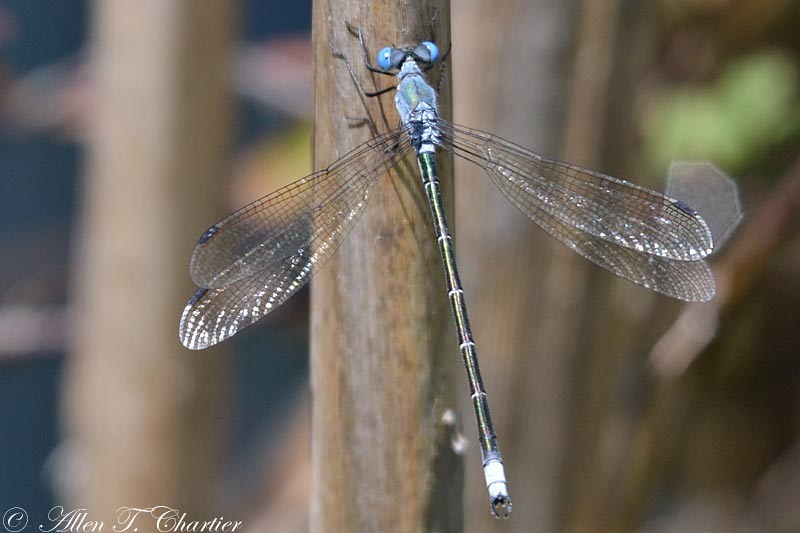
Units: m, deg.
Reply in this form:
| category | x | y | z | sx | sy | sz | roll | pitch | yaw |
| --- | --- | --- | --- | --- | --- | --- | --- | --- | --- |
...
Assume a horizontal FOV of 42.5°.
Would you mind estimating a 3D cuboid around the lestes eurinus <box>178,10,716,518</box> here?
| category | x | y | z | sx | sy | sz | roll | pitch | yaw |
| --- | --- | --- | --- | --- | --- | --- | --- | --- | --- |
| lestes eurinus | 0.121 | -0.193 | 4.494 | 2.225 | 2.488 | 0.563 | -11 | -11 | -3 |
